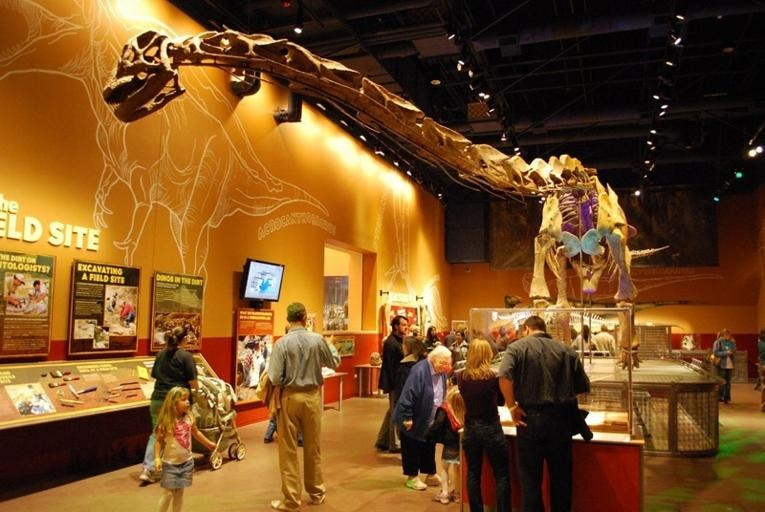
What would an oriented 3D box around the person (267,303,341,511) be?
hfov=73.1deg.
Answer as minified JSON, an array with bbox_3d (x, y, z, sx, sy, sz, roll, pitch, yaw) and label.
[{"bbox_3d":[-0.908,1.652,5.723,0.797,2.233,0.365,6,-10,-21],"label":"person"}]

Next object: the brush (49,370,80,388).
[{"bbox_3d":[-3.887,1.491,6.282,0.042,0.142,0.402,-29,-17,24],"label":"brush"}]

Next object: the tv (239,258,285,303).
[{"bbox_3d":[-2.138,0.455,9.163,0.288,0.709,0.914,-2,-10,26],"label":"tv"}]

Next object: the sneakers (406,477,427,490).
[{"bbox_3d":[0.404,2.731,6.231,0.247,0.117,0.121,-3,-7,26],"label":"sneakers"}]

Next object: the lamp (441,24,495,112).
[{"bbox_3d":[1.863,-4.098,11.098,0.430,0.532,1.829,-7,-54,52],"label":"lamp"}]

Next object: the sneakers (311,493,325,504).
[{"bbox_3d":[-0.713,2.709,5.787,0.070,0.087,0.207,1,1,17],"label":"sneakers"}]

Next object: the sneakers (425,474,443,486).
[{"bbox_3d":[0.625,2.745,6.317,0.193,0.122,0.100,0,-3,-2],"label":"sneakers"}]

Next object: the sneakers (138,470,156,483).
[{"bbox_3d":[-2.828,2.677,6.266,0.094,0.102,0.223,8,-4,11],"label":"sneakers"}]

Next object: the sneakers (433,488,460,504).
[{"bbox_3d":[0.748,2.749,5.872,0.259,0.118,0.122,-6,-11,43],"label":"sneakers"}]

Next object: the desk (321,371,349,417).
[{"bbox_3d":[-1.008,2.792,10.671,0.696,0.819,0.726,-1,-6,-2],"label":"desk"}]
